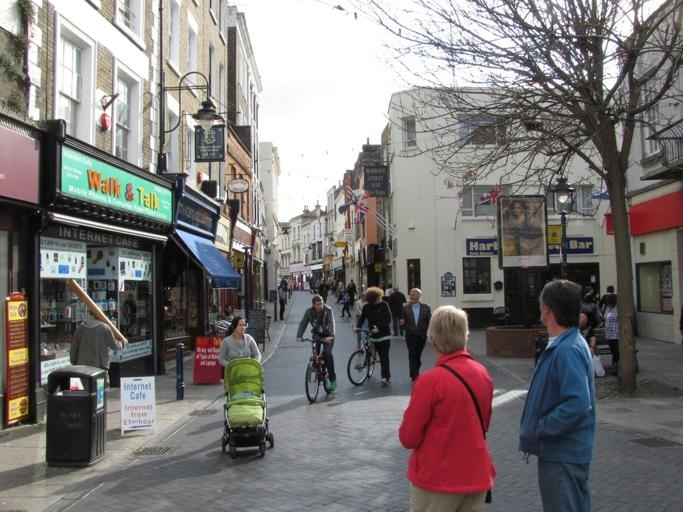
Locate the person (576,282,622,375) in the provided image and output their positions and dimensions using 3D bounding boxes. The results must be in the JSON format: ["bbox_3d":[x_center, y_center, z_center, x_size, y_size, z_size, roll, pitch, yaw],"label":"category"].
[{"bbox_3d":[5.732,1.655,15.316,0.661,2.484,0.843,0,0,-6],"label":"person"}]

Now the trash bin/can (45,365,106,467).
[{"bbox_3d":[-4.037,2.472,10.614,0.869,1.504,0.914,-5,-7,26],"label":"trash bin/can"}]

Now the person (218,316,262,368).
[{"bbox_3d":[-1.950,1.939,13.229,0.734,1.582,0.742,-2,-4,-5],"label":"person"}]

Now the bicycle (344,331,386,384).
[{"bbox_3d":[0.370,2.399,15.962,0.359,1.014,1.407,-1,-4,23],"label":"bicycle"}]

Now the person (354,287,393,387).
[{"bbox_3d":[0.798,1.846,16.065,0.743,2.328,0.906,-3,1,28],"label":"person"}]

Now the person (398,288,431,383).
[{"bbox_3d":[1.674,1.816,15.728,0.636,2.058,0.944,1,2,-3],"label":"person"}]

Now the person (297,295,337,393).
[{"bbox_3d":[-0.490,1.873,14.903,0.764,2.169,0.720,3,1,12],"label":"person"}]

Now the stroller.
[{"bbox_3d":[-1.515,2.403,10.935,0.689,1.538,1.126,2,-2,-7],"label":"stroller"}]

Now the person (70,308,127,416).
[{"bbox_3d":[-4.450,1.777,12.154,0.711,1.770,0.805,8,2,-1],"label":"person"}]
